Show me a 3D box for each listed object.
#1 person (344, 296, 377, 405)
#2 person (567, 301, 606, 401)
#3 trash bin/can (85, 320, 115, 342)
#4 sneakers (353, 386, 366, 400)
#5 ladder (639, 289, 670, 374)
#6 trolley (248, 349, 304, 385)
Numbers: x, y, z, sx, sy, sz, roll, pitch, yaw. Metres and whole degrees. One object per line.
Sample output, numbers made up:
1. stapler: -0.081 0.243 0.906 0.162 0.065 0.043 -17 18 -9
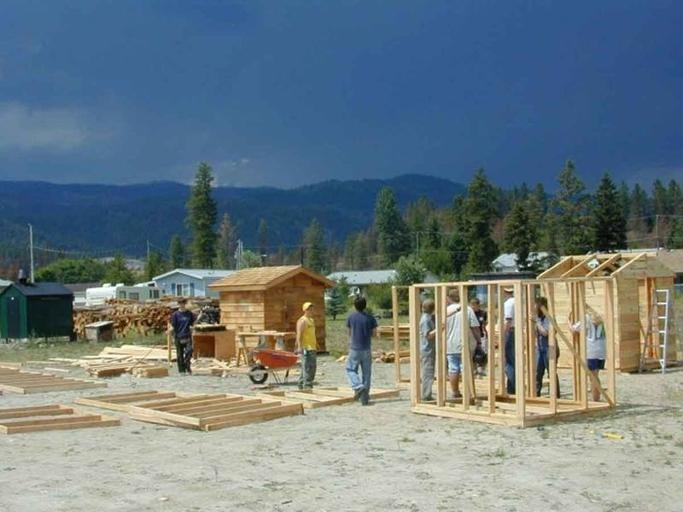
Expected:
1. person: 0.423 2.071 23.346 0.707 2.416 0.832 -5 -8 33
2. person: 5.307 2.033 22.151 0.694 2.043 1.224 -2 -8 14
3. trash bin/can: -9.502 2.972 41.759 1.200 0.924 1.030 6 -10 -40
4. sneakers: 0.416 3.053 23.250 0.140 0.189 0.396 6 -39 -15
5. ladder: 8.529 1.973 28.179 0.879 2.237 1.276 -3 -8 18
6. trolley: -1.544 2.808 26.552 1.582 0.802 1.080 -2 -10 -9
